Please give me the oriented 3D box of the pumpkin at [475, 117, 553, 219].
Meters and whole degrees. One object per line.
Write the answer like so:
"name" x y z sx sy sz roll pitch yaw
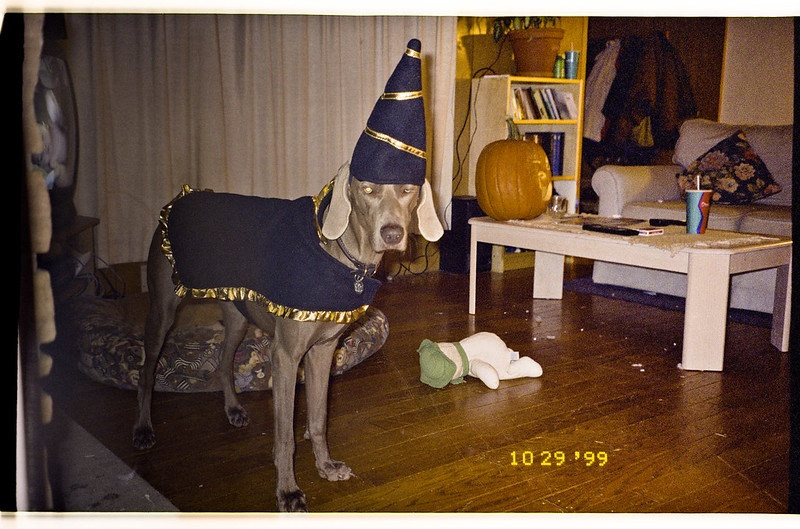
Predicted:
"pumpkin" 0.851 -0.638 4.877 0.556 0.581 0.295 2 15 9

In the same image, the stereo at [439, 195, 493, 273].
"stereo" 0.547 -0.277 6.139 0.526 0.694 0.352 -17 26 -39

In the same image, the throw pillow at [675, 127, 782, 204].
"throw pillow" 2.708 -0.802 5.363 0.775 0.547 0.464 7 17 27

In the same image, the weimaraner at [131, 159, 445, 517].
"weimaraner" -0.383 0.212 3.028 1.078 1.655 1.073 4 9 24
